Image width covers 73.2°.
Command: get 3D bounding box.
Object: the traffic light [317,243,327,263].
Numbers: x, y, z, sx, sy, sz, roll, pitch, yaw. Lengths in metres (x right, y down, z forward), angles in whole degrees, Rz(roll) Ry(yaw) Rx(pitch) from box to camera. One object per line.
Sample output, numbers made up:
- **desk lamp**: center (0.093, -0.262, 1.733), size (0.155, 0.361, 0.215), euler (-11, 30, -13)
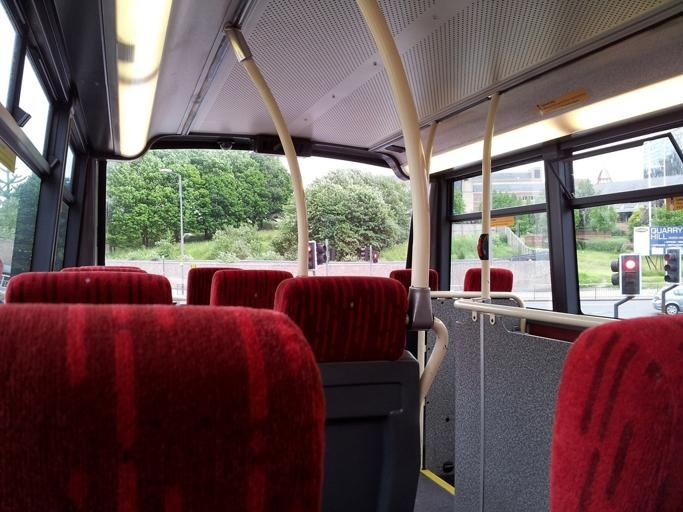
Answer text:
- **traffic light**: center (-0.349, -0.048, 7.953), size (0.164, 0.356, 0.276), euler (5, -9, -37)
